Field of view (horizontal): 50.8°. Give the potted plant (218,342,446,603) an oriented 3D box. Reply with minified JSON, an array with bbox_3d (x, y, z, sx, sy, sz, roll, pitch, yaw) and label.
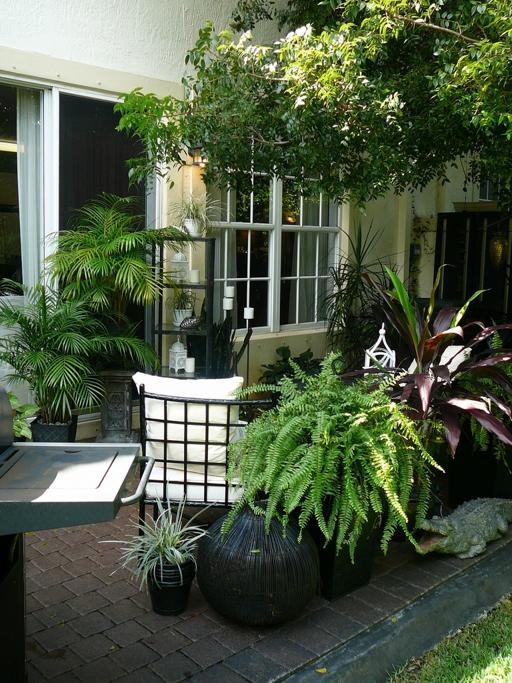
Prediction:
[{"bbox_3d":[0.354,0.350,2.081,0.915,0.900,0.868,-4,8,-30],"label":"potted plant"}]

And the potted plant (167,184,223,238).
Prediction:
[{"bbox_3d":[-0.441,-1.011,4.212,0.477,0.339,0.477,1,0,-18],"label":"potted plant"}]

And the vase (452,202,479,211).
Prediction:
[{"bbox_3d":[3.253,-2.095,8.302,0.272,0.103,0.276,-1,4,-1],"label":"vase"}]

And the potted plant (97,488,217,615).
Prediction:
[{"bbox_3d":[-0.367,0.793,2.078,0.393,0.357,0.424,2,-1,17],"label":"potted plant"}]
